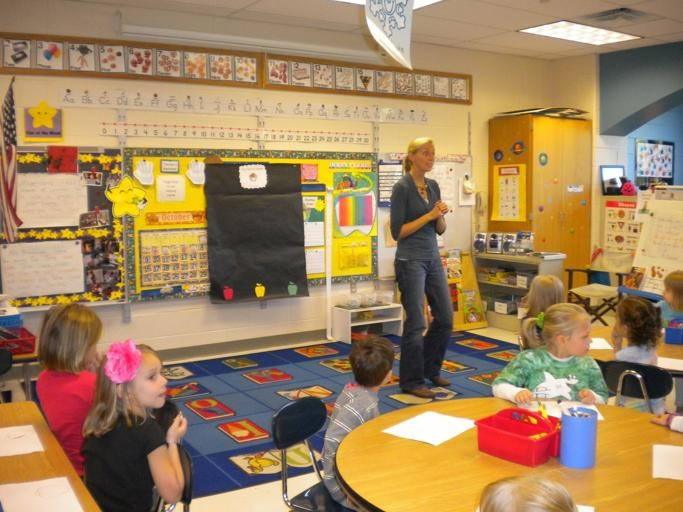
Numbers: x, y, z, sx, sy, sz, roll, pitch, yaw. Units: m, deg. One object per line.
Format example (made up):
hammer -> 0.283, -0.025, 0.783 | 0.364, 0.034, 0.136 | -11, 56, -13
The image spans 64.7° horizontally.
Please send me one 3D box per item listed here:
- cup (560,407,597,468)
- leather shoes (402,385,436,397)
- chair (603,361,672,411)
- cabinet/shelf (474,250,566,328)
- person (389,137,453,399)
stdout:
cup -> 0.777, 0.607, 1.789 | 0.108, 0.170, 0.091 | 0, 9, 20
leather shoes -> 0.634, 1.114, 4.512 | 0.268, 0.092, 0.100 | -3, -1, 28
chair -> 1.608, 0.702, 2.955 | 0.283, 0.354, 0.283 | 7, 23, 36
cabinet/shelf -> 1.866, 0.346, 5.801 | 0.449, 0.894, 1.036 | 0, 4, -32
person -> 0.652, 0.112, 4.502 | 0.477, 2.153, 0.515 | -3, 8, 4
